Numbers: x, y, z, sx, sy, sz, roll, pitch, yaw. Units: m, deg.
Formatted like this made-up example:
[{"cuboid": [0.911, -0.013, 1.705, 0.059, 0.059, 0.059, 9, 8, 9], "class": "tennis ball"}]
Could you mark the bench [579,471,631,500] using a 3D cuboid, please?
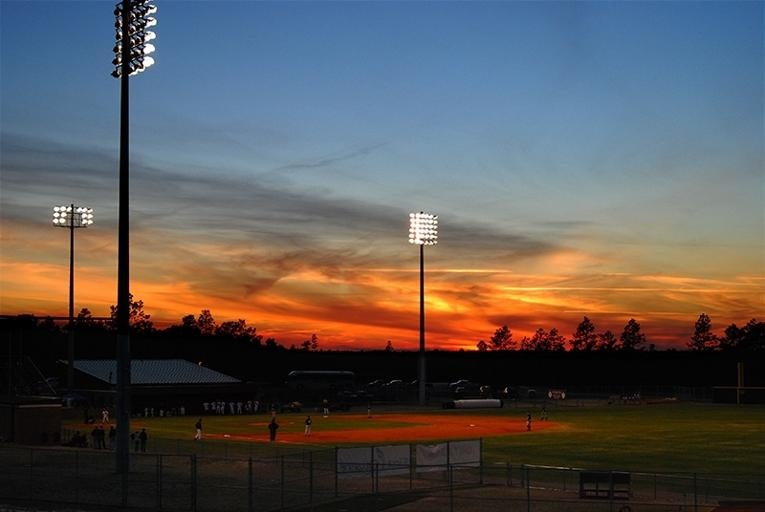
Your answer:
[{"cuboid": [17.891, 18.445, 95.344, 3.498, 2.198, 3.442, -6, -12, 41], "class": "bench"}]
